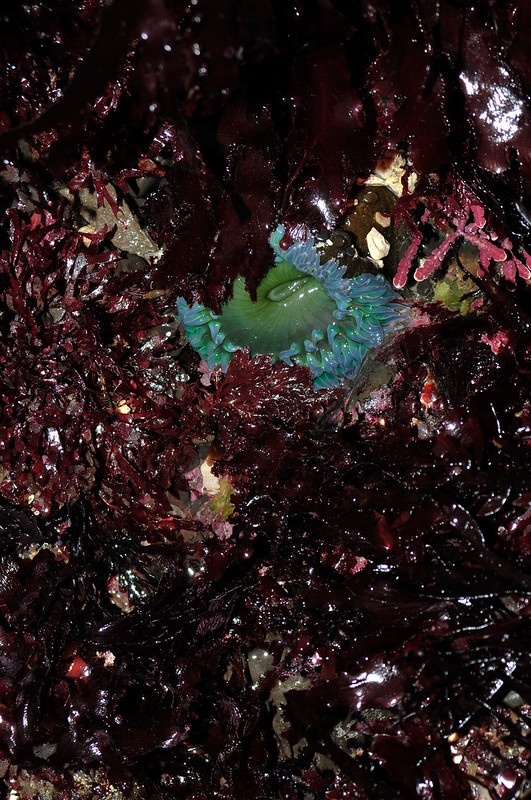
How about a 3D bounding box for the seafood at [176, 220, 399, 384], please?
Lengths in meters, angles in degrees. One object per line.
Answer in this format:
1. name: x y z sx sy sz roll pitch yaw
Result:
1. seafood: 0.052 -0.133 1.247 0.256 0.230 0.111 12 -9 42
